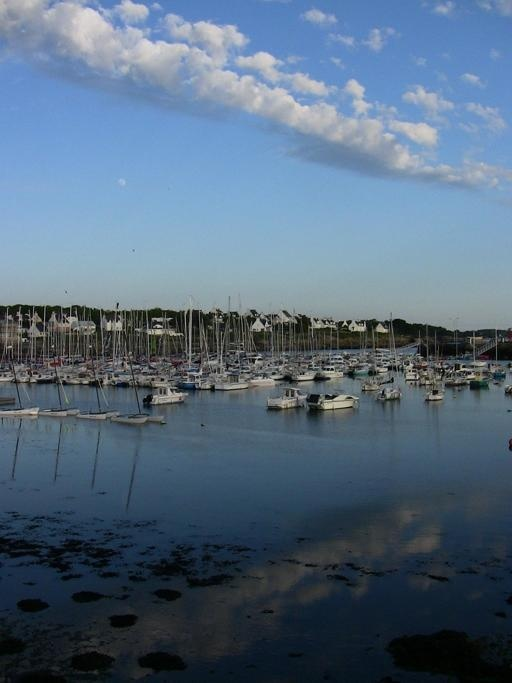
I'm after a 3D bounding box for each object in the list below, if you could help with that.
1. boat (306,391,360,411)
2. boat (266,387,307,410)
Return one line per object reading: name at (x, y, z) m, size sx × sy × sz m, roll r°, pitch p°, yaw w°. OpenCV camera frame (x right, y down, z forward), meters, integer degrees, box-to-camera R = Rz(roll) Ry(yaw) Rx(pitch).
boat at (5.871, 4.698, 51.189) m, size 2.744 × 0.867 × 1.655 m, roll -3°, pitch 4°, yaw -28°
boat at (2.382, 4.594, 52.150) m, size 1.818 × 1.380 × 4.109 m, roll 1°, pitch 2°, yaw 32°
